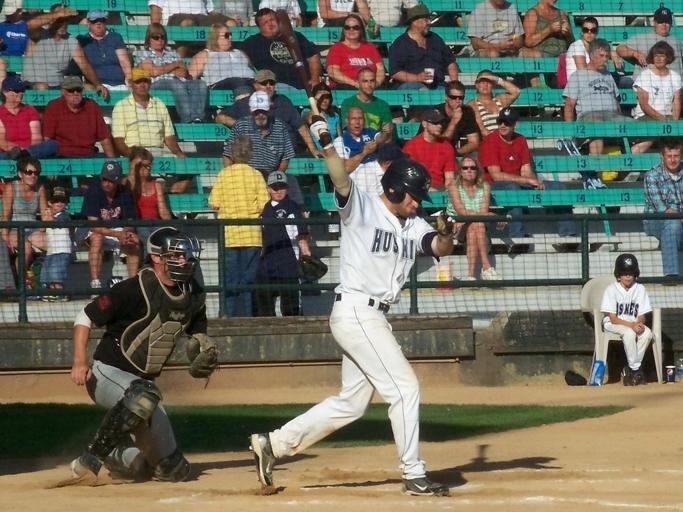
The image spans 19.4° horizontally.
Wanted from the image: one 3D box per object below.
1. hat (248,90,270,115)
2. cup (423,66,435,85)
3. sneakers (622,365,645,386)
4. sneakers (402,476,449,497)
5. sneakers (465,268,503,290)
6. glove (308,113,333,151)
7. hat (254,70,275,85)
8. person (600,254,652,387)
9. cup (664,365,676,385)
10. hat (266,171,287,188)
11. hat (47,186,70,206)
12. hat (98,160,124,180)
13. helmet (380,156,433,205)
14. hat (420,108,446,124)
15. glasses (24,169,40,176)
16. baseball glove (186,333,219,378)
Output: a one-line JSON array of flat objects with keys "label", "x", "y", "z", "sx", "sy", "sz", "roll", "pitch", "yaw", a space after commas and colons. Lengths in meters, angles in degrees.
[{"label": "hat", "x": -1.164, "y": -2.244, "z": 29.010, "sx": 0.302, "sy": 0.309, "sz": 0.373, "roll": -3, "pitch": 3, "yaw": -3}, {"label": "cup", "x": 1.397, "y": -2.771, "z": 30.624, "sx": 0.201, "sy": 0.221, "sz": 0.203, "roll": -4, "pitch": -2, "yaw": 0}, {"label": "sneakers", "x": 4.129, "y": 1.671, "z": 27.991, "sx": 0.290, "sy": 0.259, "sz": 0.122, "roll": -3, "pitch": 3, "yaw": 5}, {"label": "sneakers", "x": 1.019, "y": 2.723, "z": 23.640, "sx": 0.519, "sy": 0.235, "sz": 0.217, "roll": 0, "pitch": -5, "yaw": 8}, {"label": "sneakers", "x": 2.006, "y": 0.320, "z": 28.424, "sx": 0.639, "sy": 0.286, "sz": 0.232, "roll": -3, "pitch": 3, "yaw": 2}, {"label": "glove", "x": -0.221, "y": -1.486, "z": 23.702, "sx": 0.222, "sy": 0.481, "sz": 0.162, "roll": -13, "pitch": -26, "yaw": -3}, {"label": "hat", "x": -1.112, "y": -2.654, "z": 29.439, "sx": 0.302, "sy": 0.191, "sz": 0.264, "roll": -3, "pitch": 3, "yaw": 5}, {"label": "person", "x": 4.072, "y": 0.888, "z": 28.110, "sx": 0.686, "sy": 1.808, "sz": 0.495, "roll": -6, "pitch": 4, "yaw": -40}, {"label": "cup", "x": 4.667, "y": 1.649, "z": 28.152, "sx": 0.152, "sy": 0.224, "sz": 0.196, "roll": -2, "pitch": 3, "yaw": 12}, {"label": "hat", "x": -0.890, "y": -1.097, "z": 28.118, "sx": 0.254, "sy": 0.192, "sz": 0.359, "roll": 5, "pitch": 10, "yaw": -8}, {"label": "hat", "x": -4.040, "y": -0.875, "z": 28.605, "sx": 0.297, "sy": 0.241, "sz": 0.378, "roll": -3, "pitch": 3, "yaw": -8}, {"label": "hat", "x": -3.244, "y": -1.207, "z": 28.274, "sx": 0.294, "sy": 0.276, "sz": 0.418, "roll": -3, "pitch": 3, "yaw": -6}, {"label": "helmet", "x": 0.772, "y": -0.875, "z": 23.765, "sx": 0.433, "sy": 0.483, "sz": 0.604, "roll": 18, "pitch": 31, "yaw": -37}, {"label": "hat", "x": 1.381, "y": -2.073, "z": 29.438, "sx": 0.265, "sy": 0.144, "sz": 0.200, "roll": 14, "pitch": 13, "yaw": 31}, {"label": "glasses", "x": -4.381, "y": -1.192, "z": 28.344, "sx": 0.207, "sy": 0.092, "sz": 0.063, "roll": -5, "pitch": 4, "yaw": -34}, {"label": "baseball glove", "x": -1.668, "y": 1.180, "z": 24.390, "sx": 0.394, "sy": 0.519, "sz": 0.481, "roll": 3, "pitch": 15, "yaw": -4}]
